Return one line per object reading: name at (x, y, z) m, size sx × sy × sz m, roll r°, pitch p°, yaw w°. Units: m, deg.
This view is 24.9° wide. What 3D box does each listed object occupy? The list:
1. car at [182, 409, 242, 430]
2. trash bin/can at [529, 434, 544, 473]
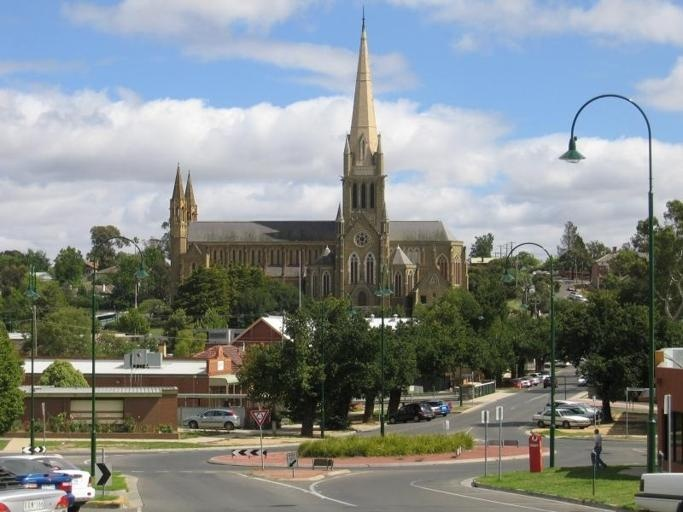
car at (-10.408, 13.418, 126.278) m, size 4.418 × 1.677 × 0.728 m, roll -3°, pitch -6°, yaw 17°
trash bin/can at (12.327, 12.333, 96.655) m, size 0.763 × 2.400 × 1.082 m, roll -1°, pitch -6°, yaw 5°
